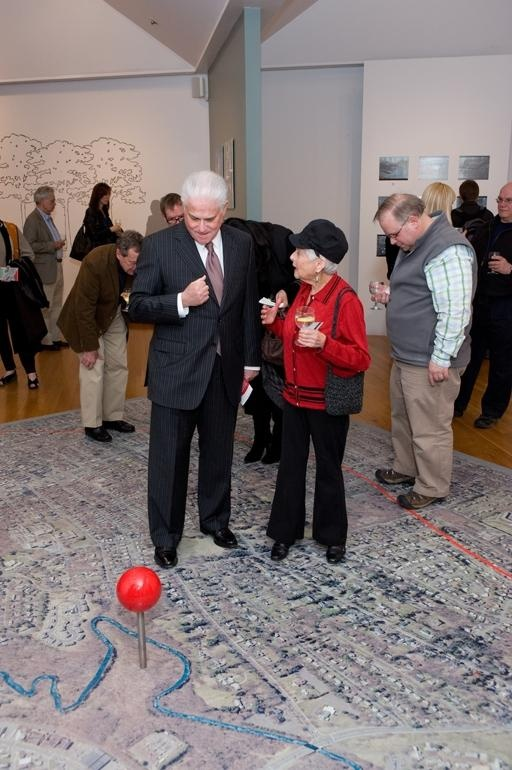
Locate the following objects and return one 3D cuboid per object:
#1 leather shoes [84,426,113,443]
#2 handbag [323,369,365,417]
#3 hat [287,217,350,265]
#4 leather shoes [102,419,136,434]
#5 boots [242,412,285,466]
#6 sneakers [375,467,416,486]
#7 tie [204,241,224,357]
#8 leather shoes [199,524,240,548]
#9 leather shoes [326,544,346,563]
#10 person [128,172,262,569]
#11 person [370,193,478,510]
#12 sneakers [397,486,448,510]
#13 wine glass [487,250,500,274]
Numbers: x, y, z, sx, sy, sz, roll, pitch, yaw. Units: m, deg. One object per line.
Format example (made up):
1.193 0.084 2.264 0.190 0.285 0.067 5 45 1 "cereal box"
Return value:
-1.113 0.354 3.999 0.234 0.106 0.088 4 9 38 "leather shoes"
0.308 0.024 2.015 0.171 0.223 0.067 0 14 -8 "handbag"
0.216 -0.513 1.975 0.194 0.170 0.184 0 7 3 "hat"
-1.017 0.310 4.193 0.273 0.115 0.095 2 7 16 "leather shoes"
0.071 0.361 3.439 0.423 0.325 0.154 -7 8 -42 "boots"
0.787 0.527 3.231 0.235 0.100 0.089 9 10 2 "sneakers"
-0.153 -0.407 2.036 0.067 0.230 0.052 -1 6 -13 "tie"
-0.168 0.660 2.497 0.072 0.080 0.201 -4 7 -40 "leather shoes"
0.324 0.699 2.295 0.053 0.031 0.125 1 14 7 "leather shoes"
-0.235 -0.014 2.171 0.456 1.513 0.623 1 6 7 "person"
0.804 -0.123 2.782 0.486 1.518 0.623 1 6 12 "person"
0.865 0.589 2.920 0.261 0.110 0.095 0 7 -11 "sneakers"
1.626 -0.854 3.879 0.102 0.143 0.047 -12 12 -37 "wine glass"
